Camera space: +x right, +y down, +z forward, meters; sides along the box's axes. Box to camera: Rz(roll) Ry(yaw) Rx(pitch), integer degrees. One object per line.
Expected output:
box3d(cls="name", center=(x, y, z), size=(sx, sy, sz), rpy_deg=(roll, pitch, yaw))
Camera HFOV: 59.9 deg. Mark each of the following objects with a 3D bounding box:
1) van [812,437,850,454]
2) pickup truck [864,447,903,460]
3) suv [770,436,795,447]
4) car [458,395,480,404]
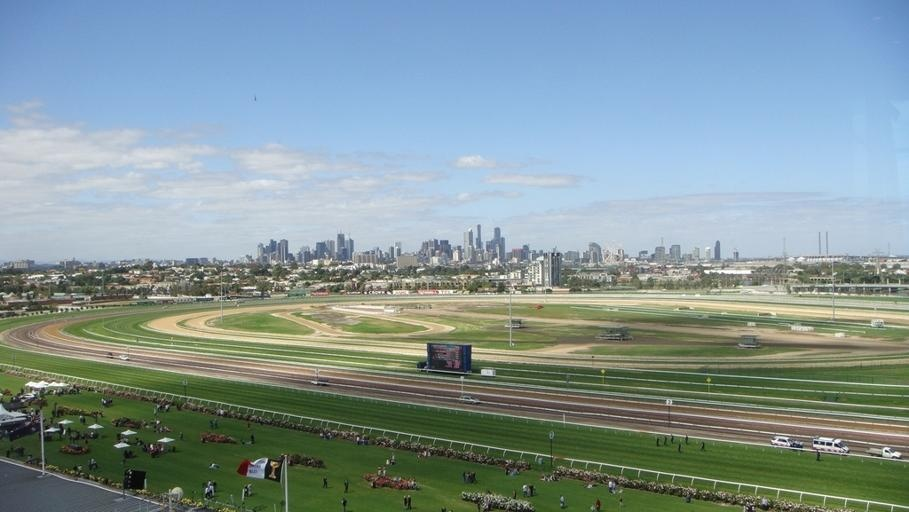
box3d(cls="van", center=(46.033, 23.151, 96.279), size=(3.808, 1.280, 1.862), rpy_deg=(-1, 3, 10))
box3d(cls="pickup truck", center=(51.917, 23.758, 94.917), size=(3.328, 0.830, 1.588), rpy_deg=(-1, 0, 29))
box3d(cls="suv", center=(40.726, 22.920, 97.194), size=(2.294, 0.682, 1.266), rpy_deg=(-2, 0, 16))
box3d(cls="car", center=(2.127, 19.887, 108.747), size=(2.293, 0.560, 1.144), rpy_deg=(0, 2, 10))
